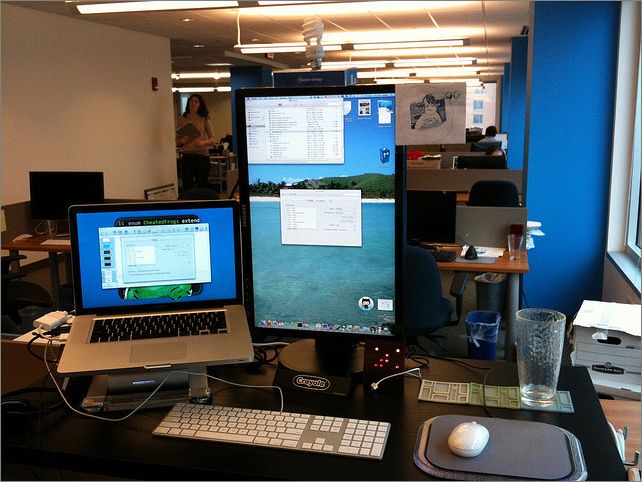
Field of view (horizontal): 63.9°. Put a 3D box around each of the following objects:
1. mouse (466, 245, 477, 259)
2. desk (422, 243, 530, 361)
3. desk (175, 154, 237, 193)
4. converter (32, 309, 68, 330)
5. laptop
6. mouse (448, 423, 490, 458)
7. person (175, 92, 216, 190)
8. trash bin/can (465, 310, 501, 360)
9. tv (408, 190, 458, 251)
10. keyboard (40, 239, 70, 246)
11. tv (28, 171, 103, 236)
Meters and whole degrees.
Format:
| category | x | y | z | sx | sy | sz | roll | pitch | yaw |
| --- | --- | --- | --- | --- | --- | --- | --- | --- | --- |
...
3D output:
| category | x | y | z | sx | sy | sz | roll | pitch | yaw |
| --- | --- | --- | --- | --- | --- | --- | --- | --- | --- |
| mouse | 1.018 | 0.073 | 3.475 | 0.080 | 0.082 | 0.078 | 4 | 11 | 14 |
| desk | 1.188 | 0.453 | 3.719 | 0.899 | 0.770 | 0.867 | 2 | 15 | 6 |
| desk | -2.102 | -1.128 | 9.000 | 1.070 | 0.708 | 0.586 | 1 | 7 | -1 |
| converter | -0.896 | 0.262 | 1.698 | 0.058 | 0.025 | 0.100 | 7 | 13 | 5 |
| laptop | -0.460 | 0.115 | 1.447 | 0.557 | 0.332 | 0.423 | -7 | 26 | -21 |
| mouse | 0.345 | 0.451 | 1.187 | 0.086 | 0.044 | 0.116 | 2 | 16 | 34 |
| person | -2.043 | -1.586 | 8.343 | 0.588 | 1.549 | 0.941 | -5 | 11 | -15 |
| trash bin/can | 1.078 | 0.635 | 3.390 | 0.235 | 0.293 | 0.232 | -4 | 16 | 6 |
| tv | 0.804 | -0.180 | 3.865 | 0.494 | 0.450 | 0.039 | 1 | 2 | -24 |
| keyboard | -2.041 | 0.008 | 3.967 | 0.163 | 0.006 | 0.177 | 1 | 12 | -3 |
| tv | -2.013 | -0.276 | 4.098 | 0.639 | 0.549 | 0.190 | 1 | 7 | 9 |
